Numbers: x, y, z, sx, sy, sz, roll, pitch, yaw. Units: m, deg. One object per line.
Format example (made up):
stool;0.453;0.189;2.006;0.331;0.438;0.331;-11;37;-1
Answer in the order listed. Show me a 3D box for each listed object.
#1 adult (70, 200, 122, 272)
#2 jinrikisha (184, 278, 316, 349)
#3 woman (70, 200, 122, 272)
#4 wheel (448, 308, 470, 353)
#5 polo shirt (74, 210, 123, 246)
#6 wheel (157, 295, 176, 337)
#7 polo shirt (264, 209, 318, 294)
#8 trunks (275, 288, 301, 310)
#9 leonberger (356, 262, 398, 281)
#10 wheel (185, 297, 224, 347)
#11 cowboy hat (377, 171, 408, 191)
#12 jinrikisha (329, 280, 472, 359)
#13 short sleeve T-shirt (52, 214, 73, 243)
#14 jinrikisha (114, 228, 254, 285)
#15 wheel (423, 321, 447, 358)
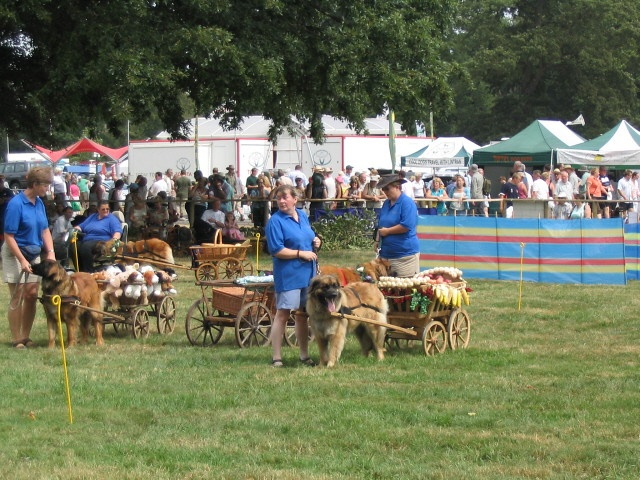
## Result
adult;-5.538;0.020;39.365;1.073;1.924;0.965;5;-2;-15
jinrikisha;-1.832;1.852;38.136;1.671;1.715;2.525;4;2;33
woman;-5.577;0.038;39.352;1.146;2.072;0.992;7;-4;-23
wheel;3.144;2.138;37.068;0.228;0.946;0.878;3;6;40
polo shirt;-5.358;-0.218;39.356;1.094;0.785;0.617;1;-13;14
wheel;-3.762;1.879;38.736;0.273;0.953;0.899;2;2;22
polo shirt;-0.633;0.188;36.163;0.834;1.800;1.254;-1;7;42
trunks;-0.753;1.375;35.874;0.380;0.507;0.664;-4;-5;35
leonberger;1.236;0.760;37.076;0.639;0.390;0.447;-9;0;-10
wheel;-2.751;2.005;38.059;1.102;1.101;0.267;-20;14;-39
cowboy hat;1.628;-1.372;37.083;0.435;0.183;0.416;-9;-6;-25
jinrikisha;2.298;1.846;37.138;1.550;1.792;2.124;2;6;33
short sleeve T-shirt;-6.896;-0.273;42.953;0.557;0.713;0.633;17;6;17
jinrikisha;-3.494;0.449;41.821;3.209;1.661;1.409;0;-1;-25
wheel;2.557;2.296;36.694;0.698;0.808;0.213;-4;9;-38
